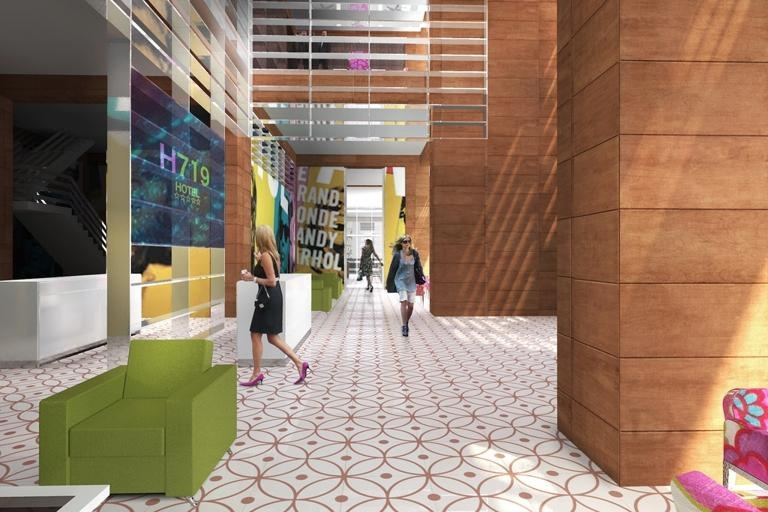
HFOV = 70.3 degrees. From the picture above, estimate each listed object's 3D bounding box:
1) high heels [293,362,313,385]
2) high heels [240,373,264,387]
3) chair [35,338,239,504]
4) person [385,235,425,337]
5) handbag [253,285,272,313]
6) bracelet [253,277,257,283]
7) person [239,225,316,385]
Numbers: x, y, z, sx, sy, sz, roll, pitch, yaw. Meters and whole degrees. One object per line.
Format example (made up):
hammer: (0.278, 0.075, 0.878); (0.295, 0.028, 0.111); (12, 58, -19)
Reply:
high heels: (-1.057, 1.531, 7.010); (0.133, 0.311, 0.106); (12, -14, 17)
high heels: (-1.691, 1.585, 6.855); (0.352, 0.154, 0.117); (2, -6, -6)
chair: (-2.196, 1.477, 5.205); (1.340, 1.174, 1.410); (0, -8, 0)
person: (0.381, 0.568, 9.709); (0.662, 1.848, 0.965); (0, 13, 4)
handbag: (-1.505, 0.512, 6.698); (0.196, 0.300, 0.081); (3, 14, 13)
bracelet: (-1.617, 0.308, 6.751); (0.059, 0.088, 0.083); (1, 2, 7)
person: (-1.456, 0.619, 6.943); (0.808, 2.059, 0.663); (-3, 13, -9)
